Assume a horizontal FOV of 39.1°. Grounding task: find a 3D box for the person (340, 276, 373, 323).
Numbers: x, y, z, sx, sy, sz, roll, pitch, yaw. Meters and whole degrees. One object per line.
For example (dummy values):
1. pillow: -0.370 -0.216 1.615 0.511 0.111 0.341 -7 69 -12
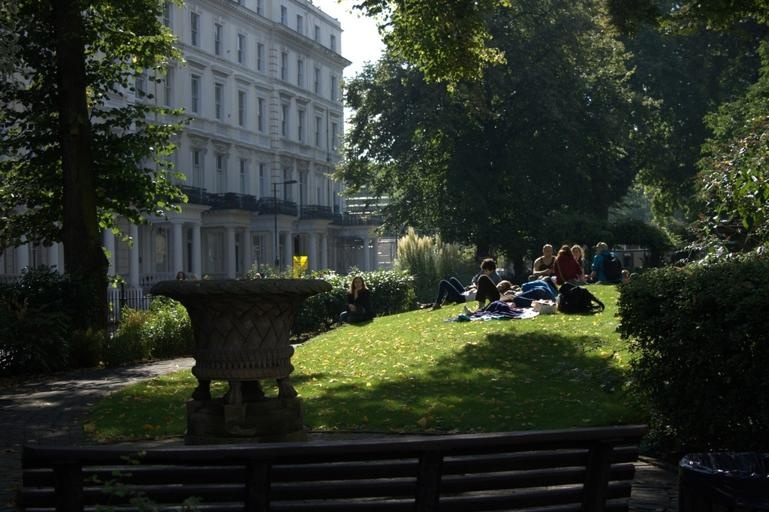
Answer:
1. person: -0.790 1.347 32.480 0.978 1.473 1.205 0 -1 5
